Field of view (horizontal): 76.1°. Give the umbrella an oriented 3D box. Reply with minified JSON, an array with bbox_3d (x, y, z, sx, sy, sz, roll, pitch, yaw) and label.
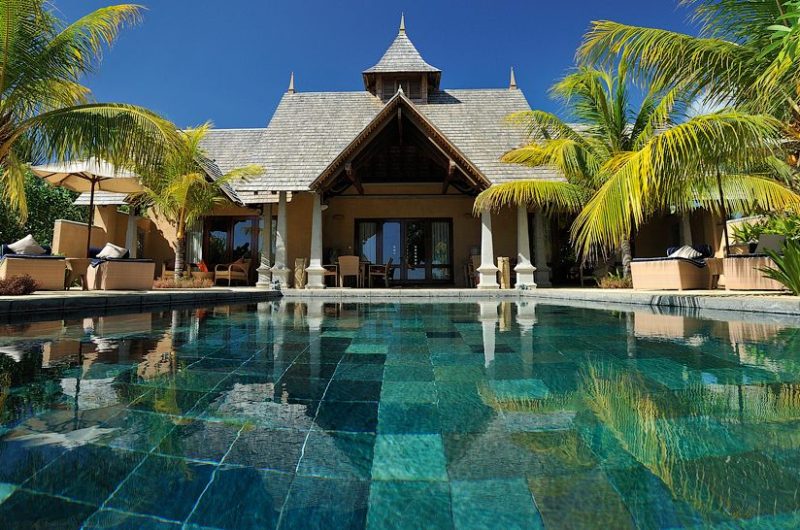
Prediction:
[{"bbox_3d":[-10.317,-1.832,16.853,3.145,3.448,2.795,10,-22,-41],"label":"umbrella"}]

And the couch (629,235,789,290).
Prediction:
[{"bbox_3d":[7.293,-0.025,12.144,2.218,1.183,1.345,-1,-1,6],"label":"couch"}]
